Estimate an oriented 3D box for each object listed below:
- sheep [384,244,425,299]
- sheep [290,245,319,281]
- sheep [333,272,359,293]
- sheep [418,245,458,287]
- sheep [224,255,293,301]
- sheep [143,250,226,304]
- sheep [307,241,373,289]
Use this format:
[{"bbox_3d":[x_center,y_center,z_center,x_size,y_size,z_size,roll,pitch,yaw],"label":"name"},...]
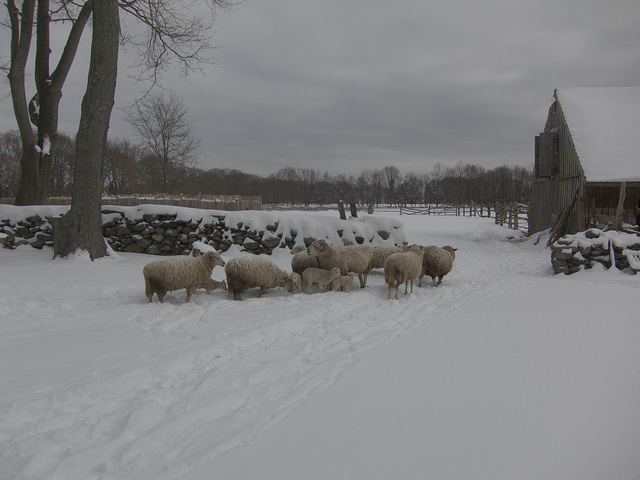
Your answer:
[{"bbox_3d":[2.108,0.772,11.130,0.545,1.301,1.584,7,5,39],"label":"sheep"},{"bbox_3d":[-0.472,0.526,11.918,0.426,0.810,1.010,1,9,14],"label":"sheep"},{"bbox_3d":[0.616,1.029,11.201,0.590,0.480,0.324,-1,5,7],"label":"sheep"},{"bbox_3d":[3.157,0.676,12.298,1.407,1.204,0.678,-1,4,-40],"label":"sheep"},{"bbox_3d":[-1.423,0.838,10.502,1.487,0.996,0.462,-8,13,-33],"label":"sheep"},{"bbox_3d":[-2.935,0.794,10.010,1.683,1.242,0.759,-2,15,-32],"label":"sheep"},{"bbox_3d":[0.564,0.631,11.903,1.952,1.400,0.774,-1,9,-24],"label":"sheep"}]
